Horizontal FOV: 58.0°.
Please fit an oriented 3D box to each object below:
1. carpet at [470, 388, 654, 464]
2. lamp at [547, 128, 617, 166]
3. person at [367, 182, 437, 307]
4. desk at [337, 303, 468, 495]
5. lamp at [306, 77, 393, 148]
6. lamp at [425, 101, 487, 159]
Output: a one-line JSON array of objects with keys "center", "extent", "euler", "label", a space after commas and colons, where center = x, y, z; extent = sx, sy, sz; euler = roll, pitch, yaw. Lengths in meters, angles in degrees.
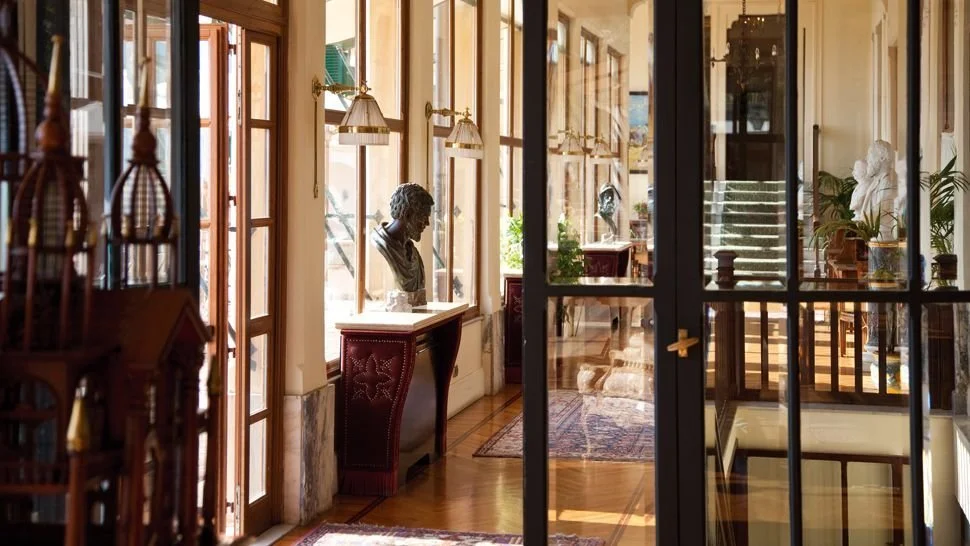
[{"center": [0.366, 0.494, 2.765], "extent": [0.327, 0.216, 0.025], "euler": [2, -1, 15], "label": "carpet"}, {"center": [0.307, -0.387, 2.737], "extent": [0.186, 0.094, 0.107], "euler": [5, 3, 1], "label": "lamp"}, {"center": [-0.528, -0.172, 5.304], "extent": [0.405, 0.801, 0.564], "euler": [-1, 24, -3], "label": "person"}, {"center": [-0.501, 0.729, 5.010], "extent": [0.355, 0.874, 1.032], "euler": [-1, 2, 9], "label": "desk"}, {"center": [-0.690, -0.830, 4.558], "extent": [0.397, 0.350, 0.287], "euler": [0, 4, 2], "label": "lamp"}, {"center": [-0.218, -0.987, 6.146], "extent": [0.447, 0.415, 0.329], "euler": [1, 1, 20], "label": "lamp"}]
